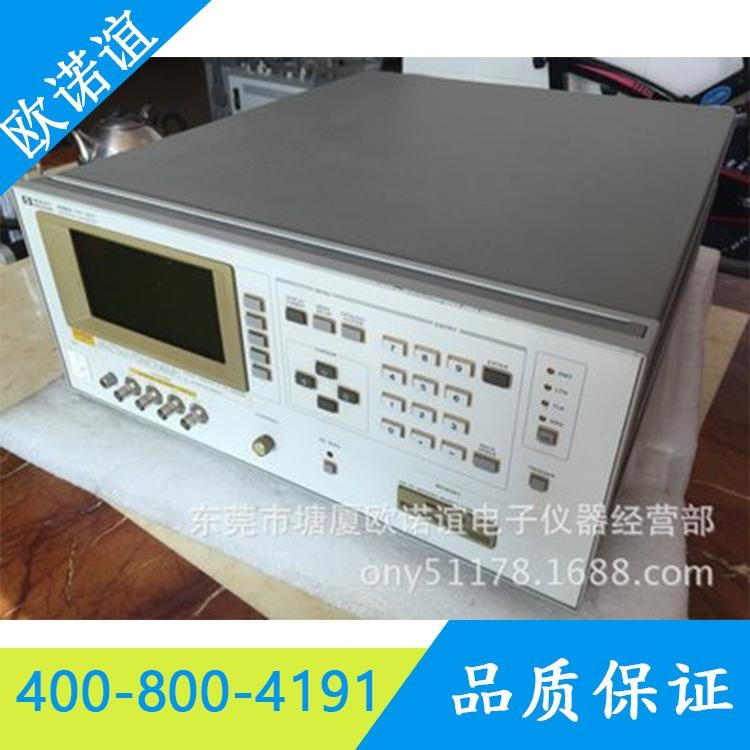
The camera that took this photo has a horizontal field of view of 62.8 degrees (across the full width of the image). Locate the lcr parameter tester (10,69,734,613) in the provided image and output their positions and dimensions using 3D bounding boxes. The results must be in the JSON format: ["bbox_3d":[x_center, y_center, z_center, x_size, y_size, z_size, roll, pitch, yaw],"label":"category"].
[{"bbox_3d":[0.029,-0.130,0.740,0.662,0.224,0.700,27,38,30],"label":"lcr parameter tester"}]
